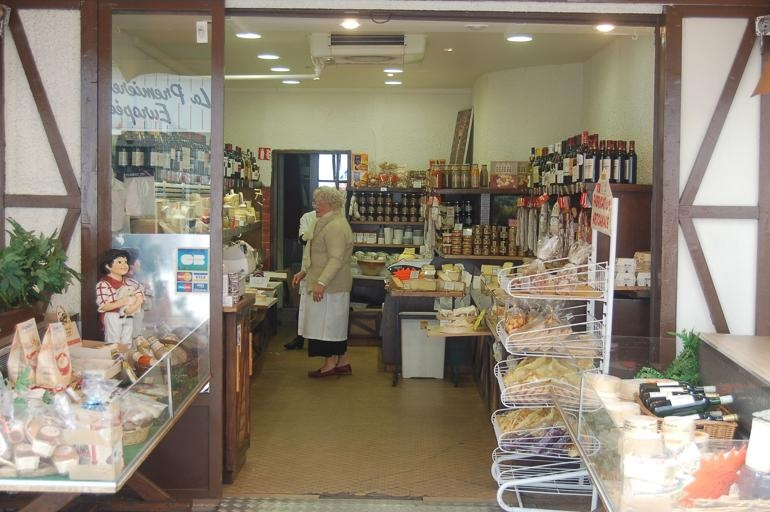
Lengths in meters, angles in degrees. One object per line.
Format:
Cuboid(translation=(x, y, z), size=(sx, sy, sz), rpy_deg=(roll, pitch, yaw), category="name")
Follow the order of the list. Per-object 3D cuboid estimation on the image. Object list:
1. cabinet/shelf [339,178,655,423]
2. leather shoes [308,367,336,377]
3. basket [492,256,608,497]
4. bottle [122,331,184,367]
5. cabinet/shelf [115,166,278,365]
Cuboid(translation=(0.937, 0.416, 5.270), size=(1.604, 1.651, 2.574), rpy_deg=(1, 0, 6), category="cabinet/shelf")
Cuboid(translation=(-0.693, 1.262, 6.448), size=(0.234, 0.084, 0.117), rpy_deg=(2, -2, -11), category="leather shoes")
Cuboid(translation=(1.031, 0.771, 3.642), size=(0.645, 1.518, 1.710), rpy_deg=(2, 0, 8), category="basket")
Cuboid(translation=(-1.394, 0.560, 3.497), size=(0.202, 0.081, 0.276), rpy_deg=(-1, 6, -32), category="bottle")
Cuboid(translation=(-1.144, -0.100, 4.675), size=(1.085, 1.809, 0.956), rpy_deg=(-1, 1, 2), category="cabinet/shelf")
